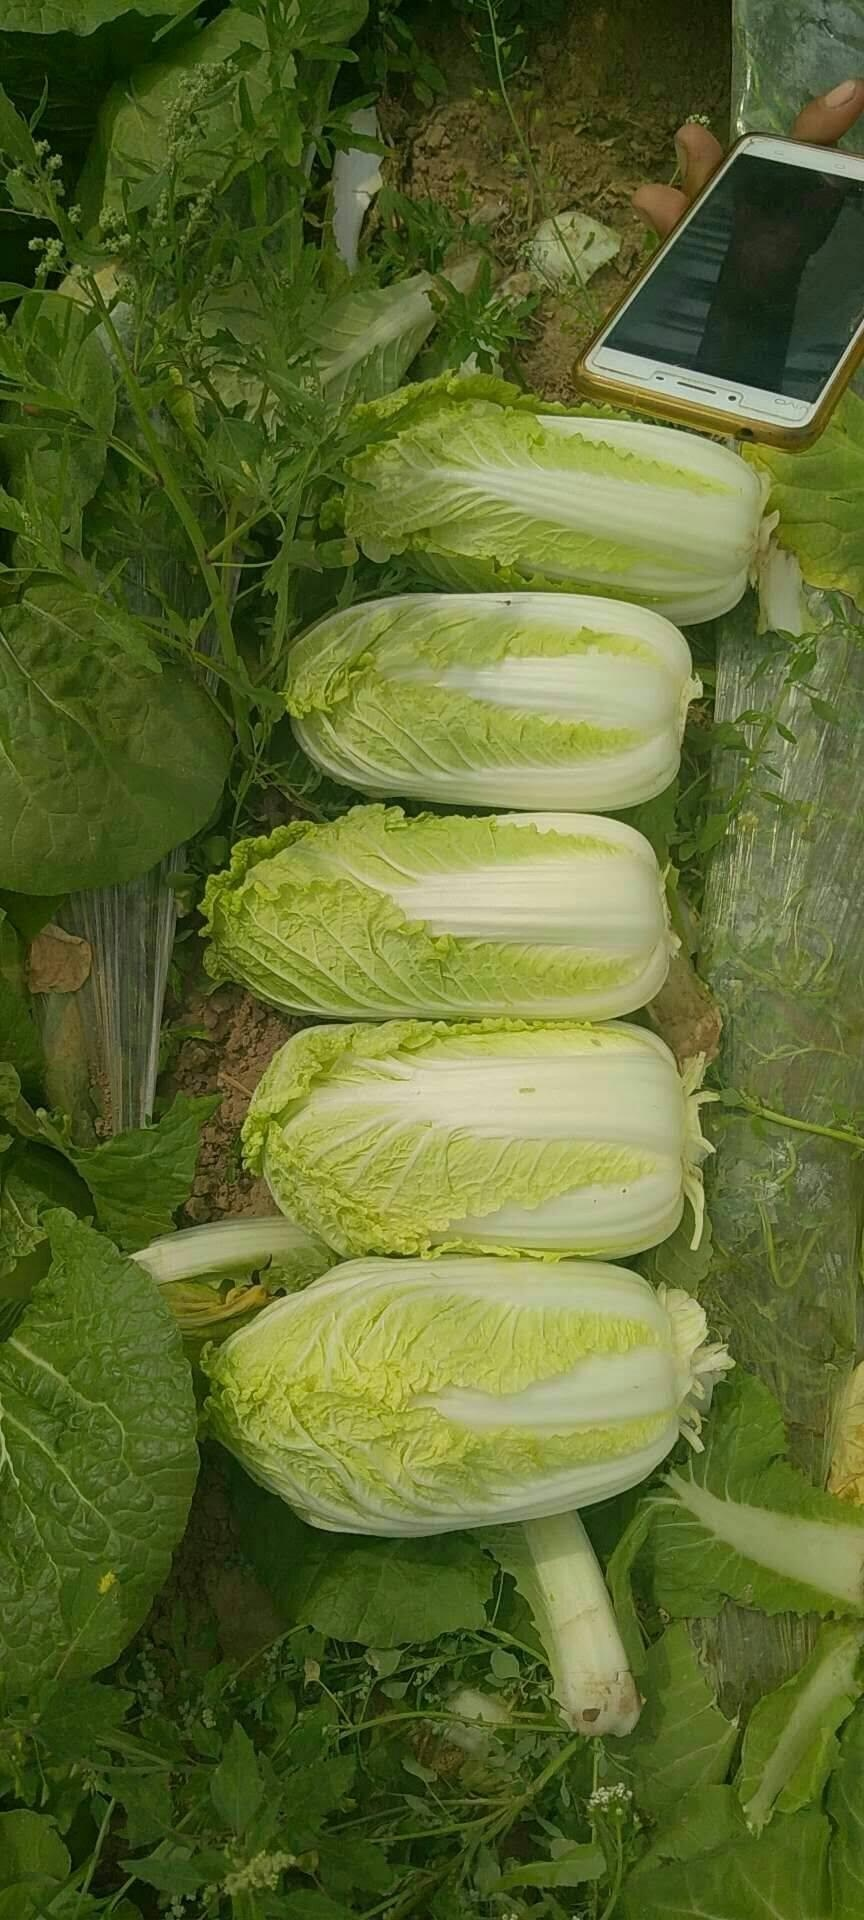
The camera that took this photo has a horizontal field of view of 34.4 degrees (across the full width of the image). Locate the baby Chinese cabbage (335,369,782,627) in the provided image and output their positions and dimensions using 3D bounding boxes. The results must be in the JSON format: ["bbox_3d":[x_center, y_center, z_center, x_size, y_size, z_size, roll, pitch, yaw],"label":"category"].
[{"bbox_3d":[0.158,-0.606,1.888,0.481,0.226,0.330,12,86,1],"label":"baby Chinese cabbage"}]

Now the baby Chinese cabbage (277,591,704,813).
[{"bbox_3d":[0.082,-0.348,2.007,0.488,0.231,0.330,2,84,9],"label":"baby Chinese cabbage"}]
